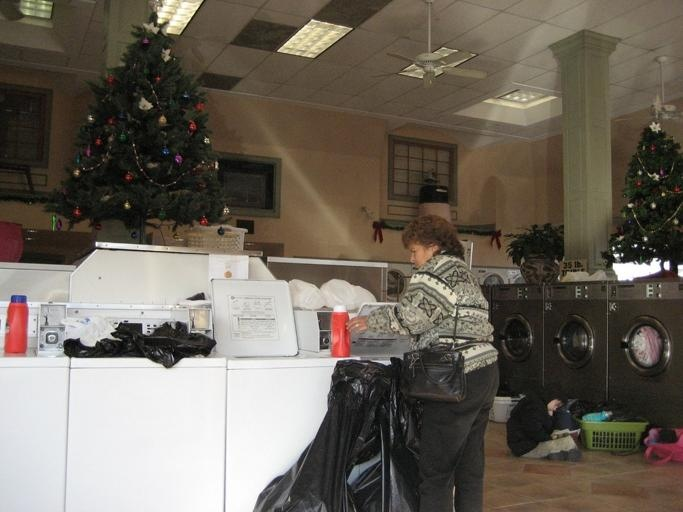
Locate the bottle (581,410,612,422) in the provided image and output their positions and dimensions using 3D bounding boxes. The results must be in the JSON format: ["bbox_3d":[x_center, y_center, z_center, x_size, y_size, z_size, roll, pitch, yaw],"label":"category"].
[{"bbox_3d":[2.270,1.432,5.285,0.178,0.045,0.108,-18,2,41],"label":"bottle"}]

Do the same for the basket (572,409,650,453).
[{"bbox_3d":[2.355,1.510,5.199,0.434,0.215,0.343,1,-4,-3],"label":"basket"}]

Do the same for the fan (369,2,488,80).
[{"bbox_3d":[1.148,-2.244,6.959,1.020,0.861,1.057,0,1,-15],"label":"fan"}]

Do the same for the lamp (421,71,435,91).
[{"bbox_3d":[0.944,-1.924,6.490,0.143,0.286,0.146,3,6,33],"label":"lamp"}]
